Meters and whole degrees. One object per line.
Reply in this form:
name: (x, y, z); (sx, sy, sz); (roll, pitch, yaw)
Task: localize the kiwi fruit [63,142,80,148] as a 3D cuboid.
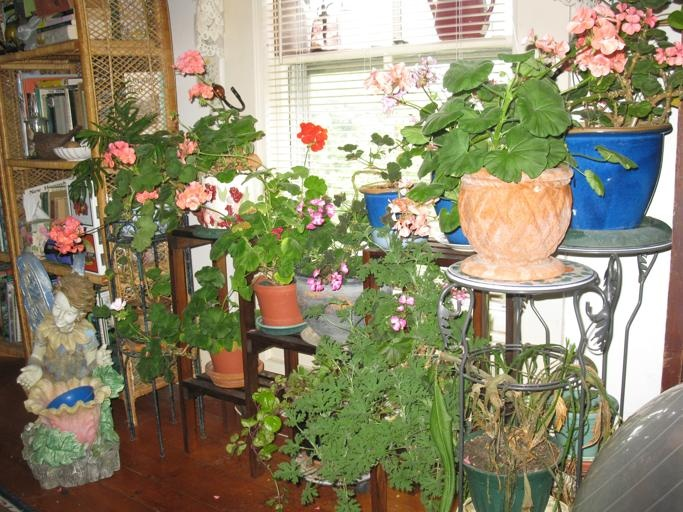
kiwi fruit: (-1.472, -0.607, 2.961); (0.046, 0.032, 0.056); (6, 11, -17)

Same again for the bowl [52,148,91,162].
bowl: (-1.453, -0.550, 2.943); (0.127, 0.044, 0.131); (0, 5, 0)
